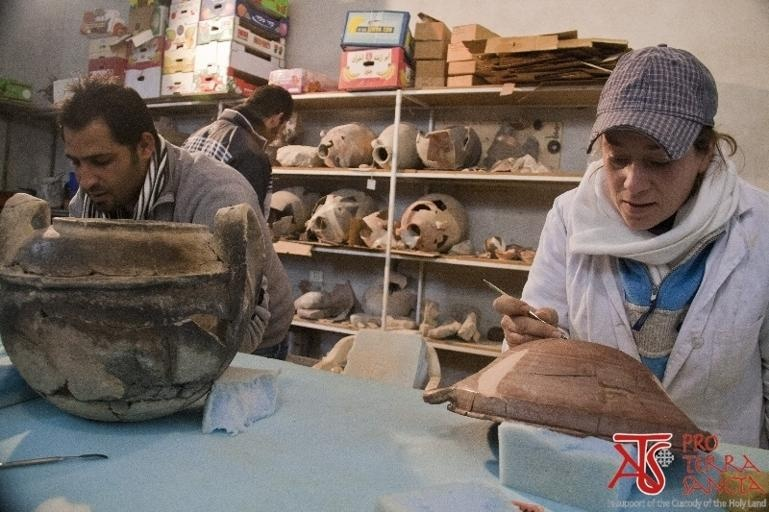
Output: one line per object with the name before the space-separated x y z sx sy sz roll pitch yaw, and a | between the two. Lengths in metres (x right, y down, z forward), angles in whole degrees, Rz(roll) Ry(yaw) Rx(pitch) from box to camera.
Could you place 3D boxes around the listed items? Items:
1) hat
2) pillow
hat | 0.825 -0.480 1.787 0.313 0.249 0.445 11 23 43
pillow | 0.021 0.405 2.252 0.262 0.233 0.067 3 -18 21
